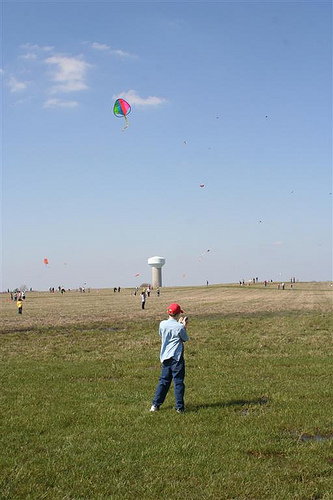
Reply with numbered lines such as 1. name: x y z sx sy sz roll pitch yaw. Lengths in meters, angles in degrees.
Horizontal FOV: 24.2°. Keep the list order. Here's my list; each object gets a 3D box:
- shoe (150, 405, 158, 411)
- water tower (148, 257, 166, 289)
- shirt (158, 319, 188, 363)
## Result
1. shoe: -0.261 3.422 16.802 0.083 0.147 0.136 -4 -4 -5
2. water tower: -2.181 5.156 181.390 2.964 6.629 7.267 0 -1 0
3. shirt: 0.159 2.014 17.063 0.587 0.928 0.727 0 -1 0
